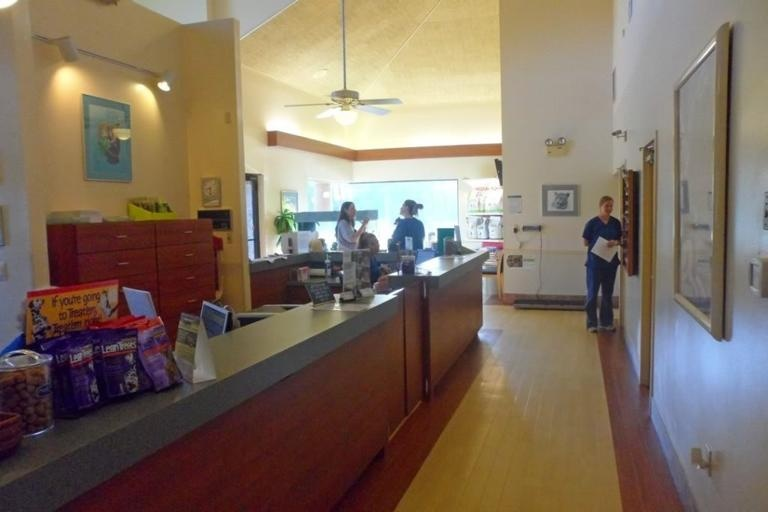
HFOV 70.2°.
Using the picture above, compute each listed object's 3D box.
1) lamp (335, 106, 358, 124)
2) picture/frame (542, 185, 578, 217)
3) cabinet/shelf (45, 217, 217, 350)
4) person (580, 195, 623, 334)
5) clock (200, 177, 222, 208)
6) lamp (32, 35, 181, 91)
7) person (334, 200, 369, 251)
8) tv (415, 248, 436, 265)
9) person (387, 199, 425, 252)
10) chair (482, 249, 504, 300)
[{"bbox_3d":[-0.559,-2.063,7.993,0.286,0.253,0.967,-2,11,-5],"label":"lamp"},{"bbox_3d":[3.012,-0.954,9.216,0.516,0.462,0.034,1,3,15],"label":"picture/frame"},{"bbox_3d":[-2.122,0.163,4.510,0.444,1.250,1.419,-1,5,24],"label":"cabinet/shelf"},{"bbox_3d":[3.011,0.109,7.545,0.478,1.881,0.464,3,12,22],"label":"person"},{"bbox_3d":[-2.315,-0.856,7.326,0.339,0.408,0.090,6,13,32],"label":"clock"},{"bbox_3d":[-3.053,-2.175,6.215,0.510,0.440,1.623,3,11,20],"label":"lamp"},{"bbox_3d":[-0.541,-0.455,8.179,0.317,0.714,0.344,-2,11,-6],"label":"person"},{"bbox_3d":[0.553,0.006,6.971,0.199,0.359,0.201,1,7,-20],"label":"tv"},{"bbox_3d":[0.341,-0.483,8.428,0.493,0.834,0.503,13,35,28],"label":"person"},{"bbox_3d":[2.013,0.348,10.318,0.632,0.875,0.625,0,-4,1],"label":"chair"}]
